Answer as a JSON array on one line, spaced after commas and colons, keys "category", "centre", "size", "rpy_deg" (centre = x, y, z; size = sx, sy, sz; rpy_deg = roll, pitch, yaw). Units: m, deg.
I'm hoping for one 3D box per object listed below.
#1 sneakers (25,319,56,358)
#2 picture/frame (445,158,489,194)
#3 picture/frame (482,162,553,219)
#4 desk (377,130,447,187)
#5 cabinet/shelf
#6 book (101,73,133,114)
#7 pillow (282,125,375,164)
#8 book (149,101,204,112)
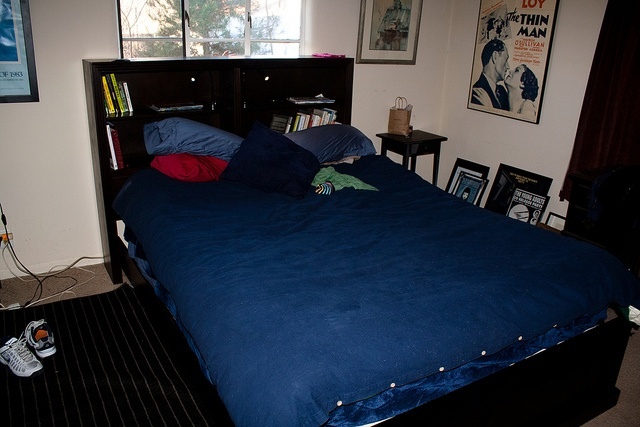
[{"category": "sneakers", "centre": [-1.793, 0.777, 2.923], "size": [0.127, 0.142, 0.321], "rpy_deg": [-19, 35, -41]}, {"category": "picture/frame", "centre": [1.591, -0.357, 4.880], "size": [0.096, 0.390, 0.412], "rpy_deg": [12, 10, -38]}, {"category": "picture/frame", "centre": [1.935, -0.215, 4.317], "size": [0.050, 0.457, 0.481], "rpy_deg": [5, 9, -43]}, {"category": "desk", "centre": [0.935, -0.676, 4.743], "size": [0.619, 0.748, 0.613], "rpy_deg": [-12, 19, -40]}, {"category": "cabinet/shelf", "centre": [-0.850, -0.300, 3.330], "size": [1.741, 1.468, 0.467], "rpy_deg": [-8, 17, -30]}, {"category": "book", "centre": [-1.603, -0.931, 3.527], "size": [0.149, 0.256, 0.257], "rpy_deg": [-15, 39, -9]}, {"category": "pillow", "centre": [0.134, -0.613, 3.862], "size": [0.493, 0.134, 0.429], "rpy_deg": [-14, 36, -33]}, {"category": "book", "centre": [-1.198, -0.885, 3.776], "size": [0.439, 0.040, 0.219], "rpy_deg": [-6, 23, -20]}]
